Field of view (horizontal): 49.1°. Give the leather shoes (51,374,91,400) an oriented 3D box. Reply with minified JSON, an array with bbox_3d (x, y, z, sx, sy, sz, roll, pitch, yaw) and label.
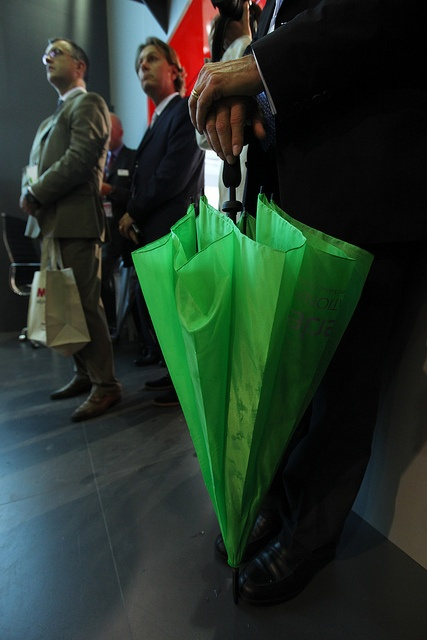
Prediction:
[{"bbox_3d":[-0.538,0.263,1.807,0.055,0.078,0.172,-5,0,40],"label":"leather shoes"}]

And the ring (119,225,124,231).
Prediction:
[{"bbox_3d":[-0.361,-0.358,1.816,0.015,0.016,0.019,5,21,15],"label":"ring"}]

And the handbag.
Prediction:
[{"bbox_3d":[-0.487,-0.024,1.452,0.175,0.268,0.148,-4,7,-22],"label":"handbag"}]

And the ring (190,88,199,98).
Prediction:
[{"bbox_3d":[-0.028,-0.335,0.693,0.009,0.015,0.020,-2,7,-11],"label":"ring"}]

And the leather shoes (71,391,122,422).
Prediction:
[{"bbox_3d":[-0.386,0.282,1.548,0.053,0.068,0.165,-9,7,32],"label":"leather shoes"}]

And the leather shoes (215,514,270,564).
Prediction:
[{"bbox_3d":[0.072,0.377,0.831,0.139,0.059,0.045,4,-1,-41],"label":"leather shoes"}]

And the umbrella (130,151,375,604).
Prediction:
[{"bbox_3d":[0.055,0.090,0.676,0.255,0.423,0.287,8,-5,-6],"label":"umbrella"}]
